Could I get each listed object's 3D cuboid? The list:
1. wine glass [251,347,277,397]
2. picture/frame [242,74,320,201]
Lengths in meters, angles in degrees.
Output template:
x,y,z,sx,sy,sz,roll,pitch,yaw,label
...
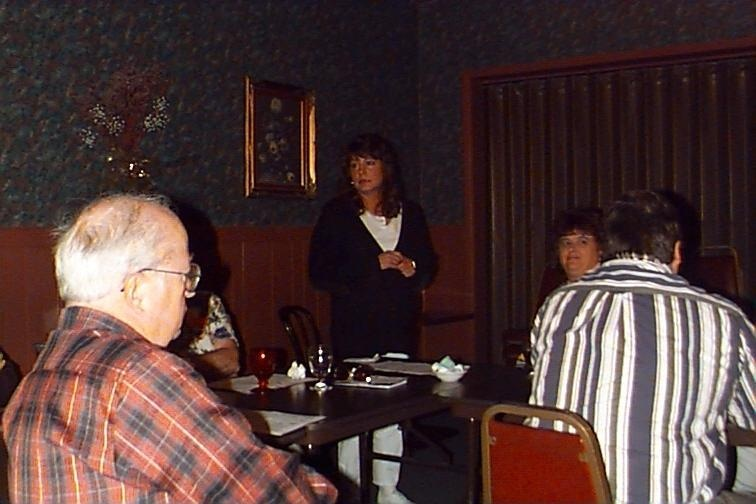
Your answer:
x,y,z,sx,sy,sz,roll,pitch,yaw,label
-0.437,0.461,2.589,0.141,0.207,0.140,1,-9,-10,wine glass
-0.642,-0.734,4.291,0.073,0.895,0.918,-3,-1,36,picture/frame
